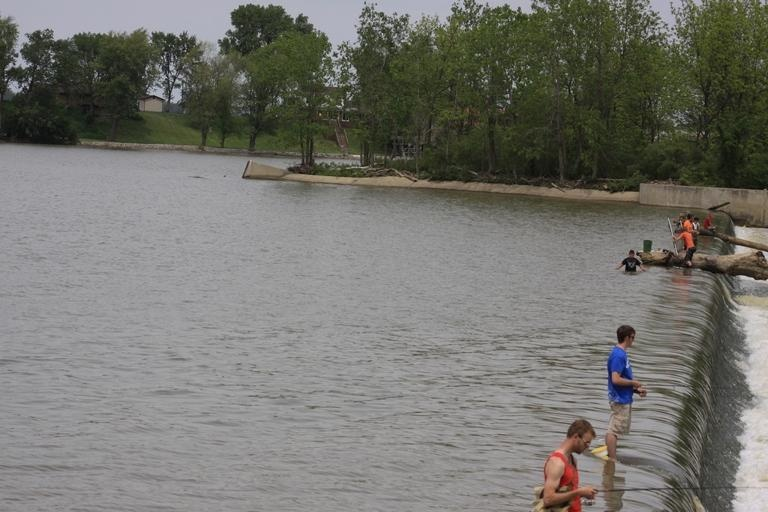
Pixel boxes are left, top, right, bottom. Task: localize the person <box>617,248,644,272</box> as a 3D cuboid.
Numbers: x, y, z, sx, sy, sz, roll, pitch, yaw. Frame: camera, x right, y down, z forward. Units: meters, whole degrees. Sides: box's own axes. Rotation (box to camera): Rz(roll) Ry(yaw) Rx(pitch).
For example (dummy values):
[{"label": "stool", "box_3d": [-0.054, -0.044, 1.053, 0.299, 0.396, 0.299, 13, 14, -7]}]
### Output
[{"label": "person", "box_3d": [16.743, 0.324, 76.493, 1.418, 1.935, 0.634, 12, 20, 18]}]
